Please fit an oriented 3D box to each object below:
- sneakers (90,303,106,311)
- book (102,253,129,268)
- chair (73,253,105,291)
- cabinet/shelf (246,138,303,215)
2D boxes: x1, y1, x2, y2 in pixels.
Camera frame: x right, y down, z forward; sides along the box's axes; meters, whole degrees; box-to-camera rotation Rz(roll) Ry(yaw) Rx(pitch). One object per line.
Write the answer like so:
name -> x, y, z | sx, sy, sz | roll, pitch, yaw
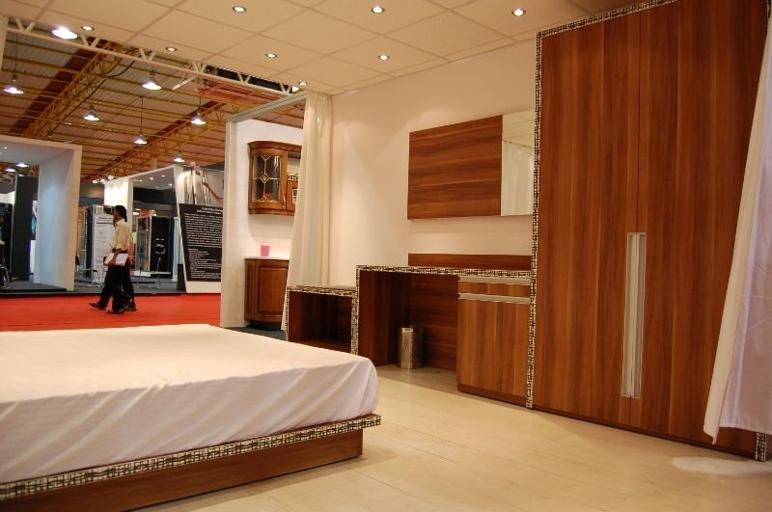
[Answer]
sneakers -> -5.421, 0.958, 9.451 | 0.389, 0.148, 0.129 | 12, 5, 24
book -> -4.909, 0.072, 9.093 | 0.428, 0.268, 0.237 | 1, 2, -18
chair -> -8.702, 0.461, 14.673 | 0.600, 0.933, 1.079 | 2, -1, -39
cabinet/shelf -> -1.967, -1.346, 8.689 | 0.859, 1.249, 0.402 | 2, 2, -17
